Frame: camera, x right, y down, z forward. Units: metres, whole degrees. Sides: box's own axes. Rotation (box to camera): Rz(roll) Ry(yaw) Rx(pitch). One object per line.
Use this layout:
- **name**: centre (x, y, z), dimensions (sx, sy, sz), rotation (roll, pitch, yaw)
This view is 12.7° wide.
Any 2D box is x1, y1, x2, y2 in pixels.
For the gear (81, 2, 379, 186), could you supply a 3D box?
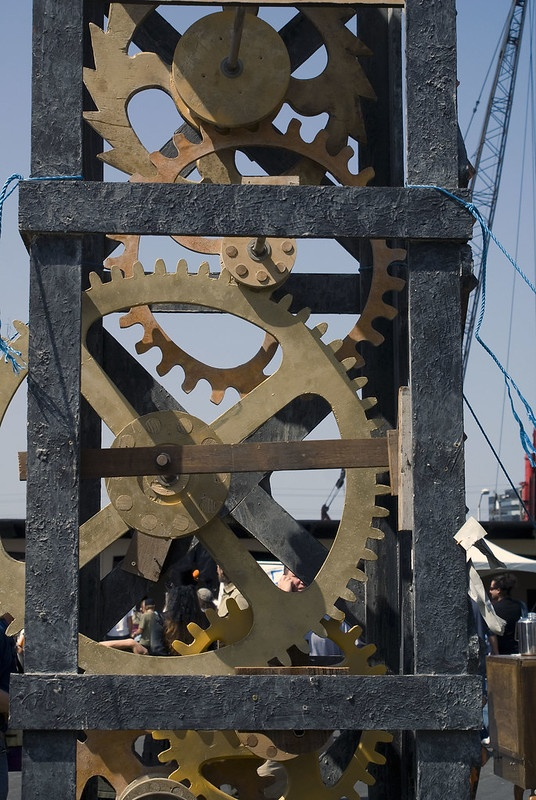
- **gear**: centre (-0.135, -1.409, 11.202), dimensions (1.290, 0.845, 0.906), rotation (-9, 17, -35)
